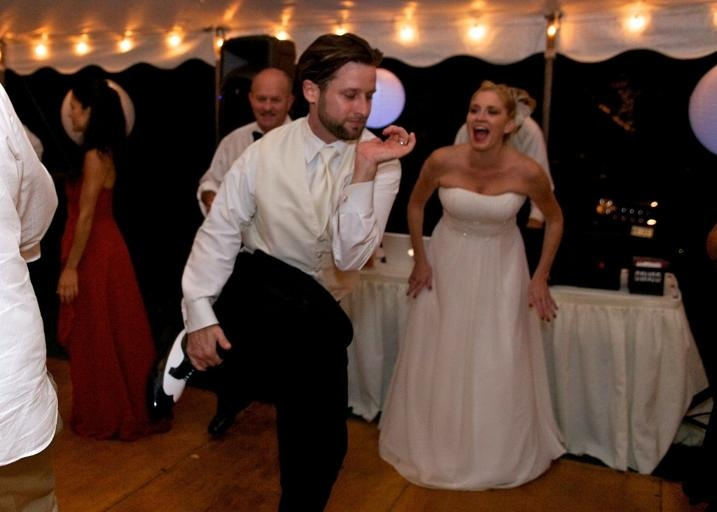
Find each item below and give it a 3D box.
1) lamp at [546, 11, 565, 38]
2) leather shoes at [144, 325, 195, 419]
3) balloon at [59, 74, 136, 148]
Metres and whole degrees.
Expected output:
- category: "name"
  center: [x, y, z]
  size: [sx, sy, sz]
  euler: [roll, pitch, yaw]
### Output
- category: "lamp"
  center: [1.290, -1.532, 4.255]
  size: [0.112, 0.161, 0.049]
  euler: [2, 13, 5]
- category: "leather shoes"
  center: [-0.865, 0.510, 3.023]
  size: [0.154, 0.470, 0.150]
  euler: [0, 35, -24]
- category: "balloon"
  center: [-1.664, -0.941, 4.166]
  size: [0.472, 0.385, 0.325]
  euler: [-9, 17, -34]
